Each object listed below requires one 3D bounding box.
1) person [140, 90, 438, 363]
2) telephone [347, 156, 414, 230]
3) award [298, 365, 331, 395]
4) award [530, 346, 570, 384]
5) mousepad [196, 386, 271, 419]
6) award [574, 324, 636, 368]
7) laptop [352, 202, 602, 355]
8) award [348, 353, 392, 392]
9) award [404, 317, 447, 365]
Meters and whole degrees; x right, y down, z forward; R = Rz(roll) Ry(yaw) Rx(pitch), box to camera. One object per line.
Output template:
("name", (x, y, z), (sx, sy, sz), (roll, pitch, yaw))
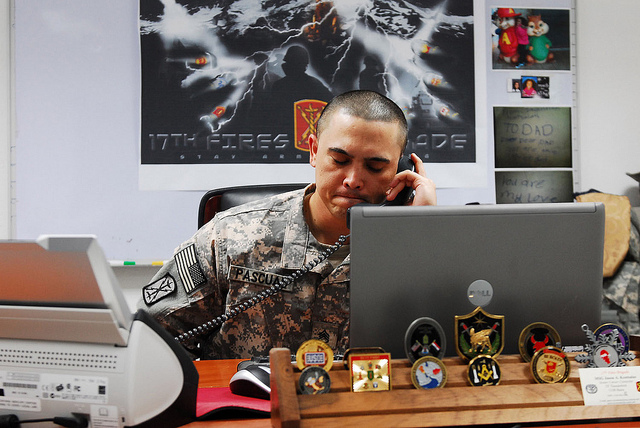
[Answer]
("person", (-0.198, 0.044, 2.434), (0.933, 1.183, 0.634), (16, 3, -20))
("telephone", (0.259, -0.109, 2.286), (0.216, 0.302, 0.102), (28, -4, 37))
("award", (-0.019, 0.478, 1.715), (0.091, 0.090, 0.021), (10, -38, -6))
("award", (0.661, 0.434, 1.740), (0.112, 0.098, 0.030), (-1, 4, -7))
("mousepad", (-0.274, 0.574, 1.893), (0.219, 0.043, 0.202), (-2, 4, -10))
("award", (0.827, 0.382, 1.761), (0.138, 0.114, 0.121), (2, 5, 34))
("laptop", (0.472, 0.200, 1.821), (0.757, 0.456, 0.022), (-1, 4, -3))
("award", (0.143, 0.451, 1.722), (0.115, 0.105, 0.027), (-2, -5, -5))
("award", (0.305, 0.376, 1.777), (0.123, 0.138, 0.024), (4, -5, -10))
